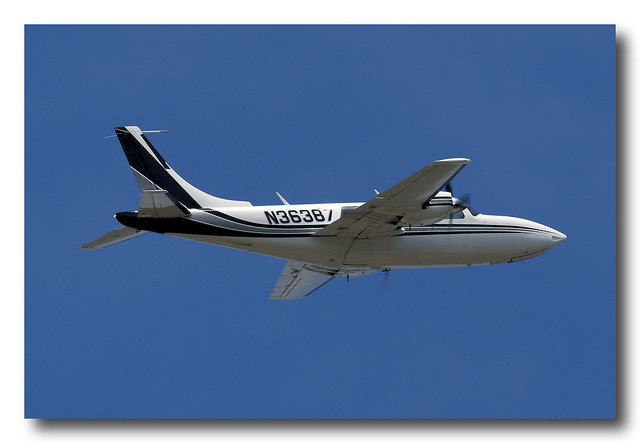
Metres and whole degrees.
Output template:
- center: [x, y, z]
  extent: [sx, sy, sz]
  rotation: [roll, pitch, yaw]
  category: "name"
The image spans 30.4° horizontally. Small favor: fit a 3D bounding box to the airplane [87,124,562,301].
- center: [0.478, -0.390, 34.046]
  extent: [13.102, 2.908, 9.393]
  rotation: [6, -22, -27]
  category: "airplane"
